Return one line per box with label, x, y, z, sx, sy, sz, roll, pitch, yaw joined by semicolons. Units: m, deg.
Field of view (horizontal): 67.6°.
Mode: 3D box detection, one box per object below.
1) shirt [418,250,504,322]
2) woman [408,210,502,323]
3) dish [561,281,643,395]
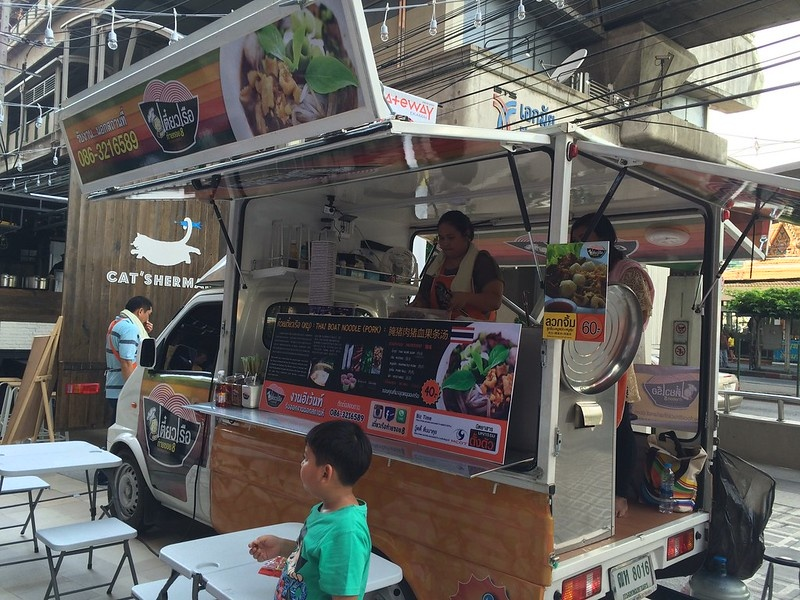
shirt;0.453;-0.100;4.512;0.308;0.595;0.571;15;-11;-43
woman;0.402;-0.131;4.593;0.682;1.099;0.717;0;-3;-44
dish;1.205;0.204;3.638;0.127;0.661;0.601;0;5;45
